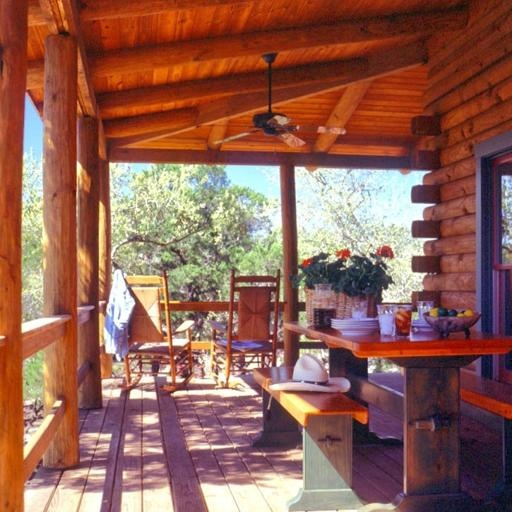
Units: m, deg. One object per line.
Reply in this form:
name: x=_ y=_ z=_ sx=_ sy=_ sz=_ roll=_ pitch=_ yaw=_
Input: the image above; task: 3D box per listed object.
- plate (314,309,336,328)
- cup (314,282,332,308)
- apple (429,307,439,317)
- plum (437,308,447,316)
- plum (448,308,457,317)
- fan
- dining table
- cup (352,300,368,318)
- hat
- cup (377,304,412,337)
plate: x=0.366 y=0.329 z=2.531 sx=0.098 sy=0.086 sz=0.102 roll=2 pitch=-5 yaw=-14
cup: x=0.388 y=0.229 z=2.767 sx=0.108 sy=0.135 sz=0.088 roll=-1 pitch=-5 yaw=10
apple: x=0.801 y=0.258 z=2.163 sx=0.037 sy=0.036 sz=0.036 roll=33 pitch=-32 yaw=-22
plum: x=0.830 y=0.250 z=2.126 sx=0.029 sy=0.033 sz=0.048 roll=-4 pitch=-6 yaw=39
plum: x=0.883 y=0.256 z=2.161 sx=0.036 sy=0.035 sz=0.035 roll=-1 pitch=-5 yaw=-4
fan: x=0.189 y=-1.519 z=4.997 sx=0.927 sy=0.745 sz=1.785 roll=2 pitch=-5 yaw=-20
dining table: x=0.672 y=0.759 z=2.355 sx=0.757 sy=0.788 sz=1.089 roll=0 pitch=-5 yaw=-6
cup: x=0.518 y=0.274 z=2.454 sx=0.078 sy=0.085 sz=0.080 roll=0 pitch=-6 yaw=0
hat: x=0.252 y=0.559 z=2.316 sx=0.397 sy=0.151 sz=0.334 roll=-3 pitch=-6 yaw=30
cup: x=0.584 y=0.278 z=2.040 sx=0.134 sy=0.120 sz=0.148 roll=0 pitch=-9 yaw=0
